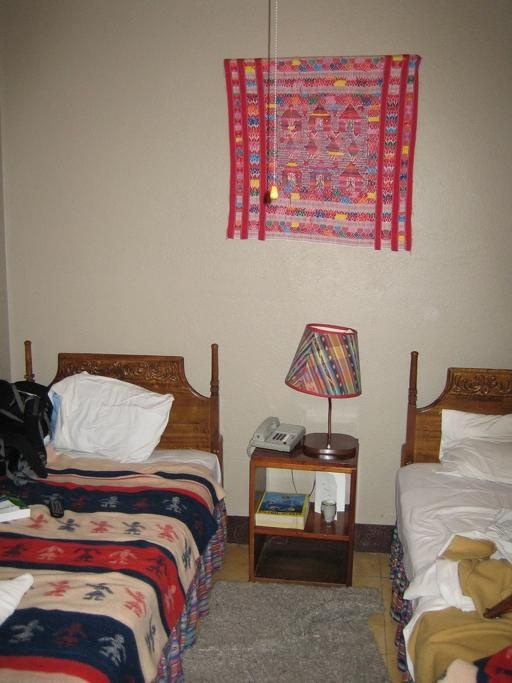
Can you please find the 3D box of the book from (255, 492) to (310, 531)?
[{"bbox_3d":[0.128,0.805,2.847,0.233,0.085,0.274,2,8,9],"label":"book"}]

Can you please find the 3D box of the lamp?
[{"bbox_3d":[0.315,0.225,2.761,0.332,0.596,0.400,2,9,10],"label":"lamp"}]

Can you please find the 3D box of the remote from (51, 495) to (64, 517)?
[{"bbox_3d":[-0.744,0.613,2.213,0.039,0.020,0.074,1,26,-15],"label":"remote"}]

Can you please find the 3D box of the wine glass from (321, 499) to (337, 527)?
[{"bbox_3d":[0.351,0.815,2.828,0.095,0.146,0.090,1,7,12],"label":"wine glass"}]

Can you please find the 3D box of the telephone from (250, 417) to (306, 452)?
[{"bbox_3d":[0.103,0.452,2.822,0.175,0.068,0.192,1,21,17],"label":"telephone"}]

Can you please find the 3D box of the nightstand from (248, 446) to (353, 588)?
[{"bbox_3d":[0.232,0.820,2.841,0.487,0.609,0.367,2,8,7],"label":"nightstand"}]

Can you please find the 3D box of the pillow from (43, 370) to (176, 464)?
[{"bbox_3d":[-0.705,0.362,2.833,0.478,0.395,0.143,10,-23,4],"label":"pillow"}]
